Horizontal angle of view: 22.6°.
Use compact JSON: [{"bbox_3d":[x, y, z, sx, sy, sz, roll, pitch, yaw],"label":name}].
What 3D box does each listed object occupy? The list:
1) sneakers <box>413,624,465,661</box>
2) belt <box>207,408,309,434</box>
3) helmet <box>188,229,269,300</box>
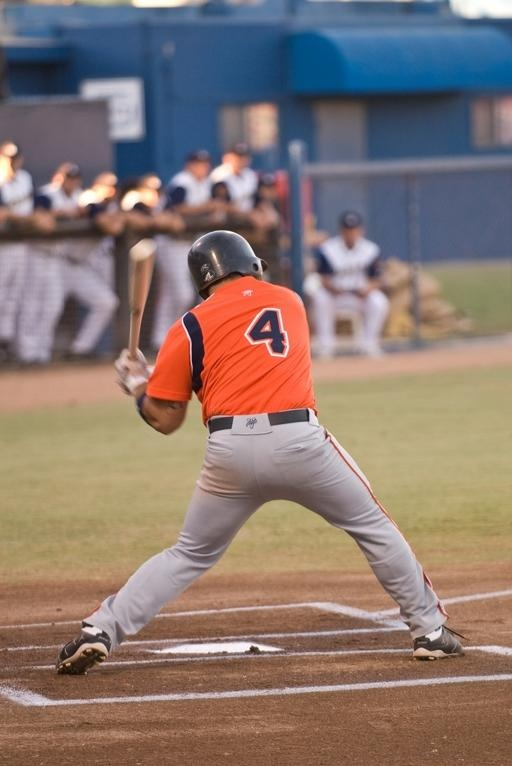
[{"bbox_3d":[0.585,0.833,4.138,0.206,0.089,0.078,-3,5,-36],"label":"sneakers"},{"bbox_3d":[0.002,0.117,3.903,0.314,0.073,0.148,-1,8,0],"label":"belt"},{"bbox_3d":[-0.102,-0.380,4.202,0.190,0.174,0.251,-28,-7,18],"label":"helmet"}]
